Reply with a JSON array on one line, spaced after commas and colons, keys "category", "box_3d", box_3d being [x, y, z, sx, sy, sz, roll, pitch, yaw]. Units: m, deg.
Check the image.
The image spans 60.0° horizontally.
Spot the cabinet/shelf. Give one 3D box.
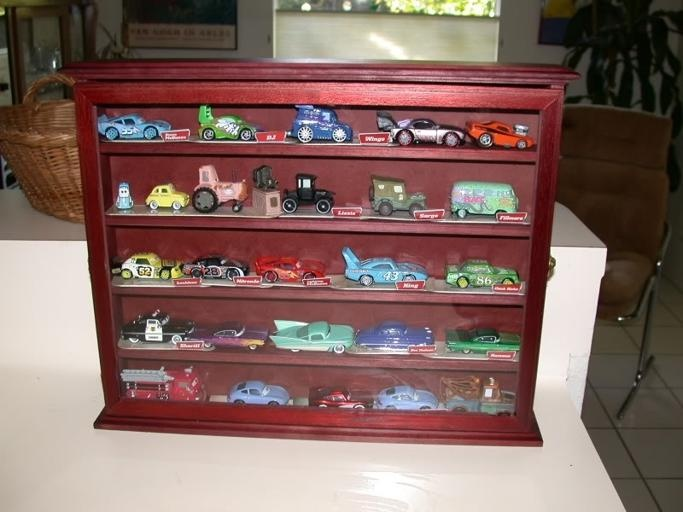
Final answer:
[{"category": "cabinet/shelf", "box_3d": [-0.093, -0.010, 2.261, 1.389, 1.237, 0.374, 1, 13, 3]}]
